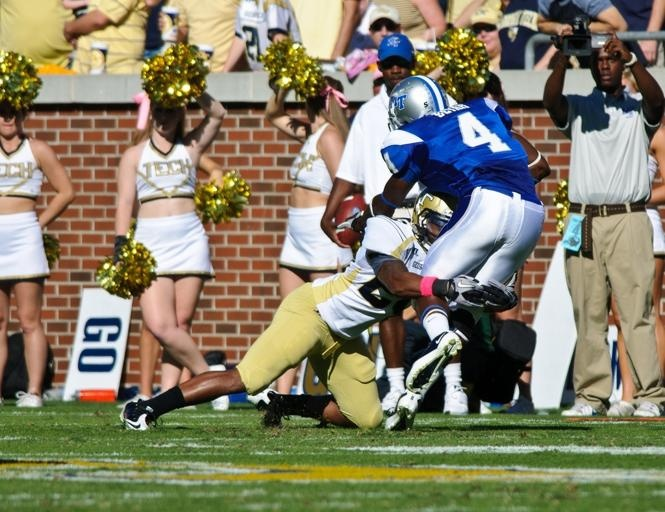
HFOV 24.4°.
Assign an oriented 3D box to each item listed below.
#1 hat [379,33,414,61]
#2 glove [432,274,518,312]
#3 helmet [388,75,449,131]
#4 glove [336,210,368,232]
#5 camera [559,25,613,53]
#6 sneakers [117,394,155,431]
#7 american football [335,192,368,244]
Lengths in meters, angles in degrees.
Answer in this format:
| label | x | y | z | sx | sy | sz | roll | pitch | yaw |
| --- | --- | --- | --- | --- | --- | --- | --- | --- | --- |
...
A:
| label | x | y | z | sx | sy | sz | roll | pitch | yaw |
| --- | --- | --- | --- | --- | --- | --- | --- | --- | --- |
| hat | 0.450 | -1.482 | 10.965 | 0.254 | 0.213 | 0.250 | 1 | 0 | 1 |
| glove | 0.839 | 0.224 | 9.144 | 0.322 | 0.146 | 0.237 | 0 | -12 | 9 |
| helmet | 0.523 | -0.985 | 9.872 | 0.426 | 0.395 | 0.328 | 9 | 18 | 42 |
| glove | 0.123 | -0.216 | 9.785 | 0.108 | 0.087 | 0.267 | -26 | 6 | -27 |
| camera | 1.775 | -1.537 | 10.958 | 0.412 | 0.264 | 0.731 | 0 | 10 | 13 |
| sneakers | -1.192 | 0.980 | 9.564 | 0.220 | 0.190 | 0.218 | 1 | 0 | 2 |
| american football | 0.122 | -0.258 | 10.571 | 0.197 | 0.136 | 0.333 | 33 | 35 | -6 |
